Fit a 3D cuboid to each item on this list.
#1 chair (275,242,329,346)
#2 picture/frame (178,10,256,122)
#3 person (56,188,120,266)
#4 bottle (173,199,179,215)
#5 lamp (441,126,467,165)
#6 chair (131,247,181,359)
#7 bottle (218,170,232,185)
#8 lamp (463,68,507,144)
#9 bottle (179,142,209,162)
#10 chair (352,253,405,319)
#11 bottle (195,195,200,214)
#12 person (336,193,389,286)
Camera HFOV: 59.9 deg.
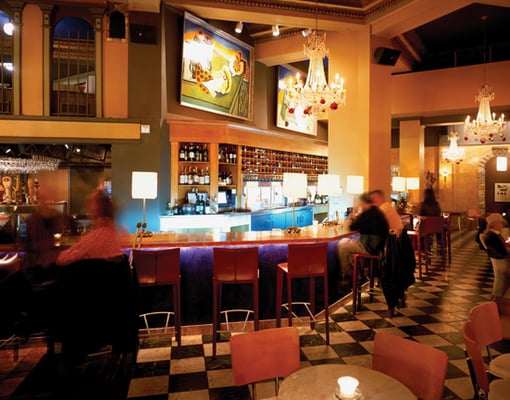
[{"bbox_3d":[0.713,1.249,6.621,0.774,1.437,1.024,1,15,4],"label":"chair"},{"bbox_3d":[-0.937,-3.065,10.052,0.102,2.077,2.530,1,-1,34],"label":"picture/frame"},{"bbox_3d":[-2.017,0.317,5.271,0.710,0.946,0.680,3,-13,1],"label":"person"},{"bbox_3d":[-1.701,0.140,9.566,0.158,0.279,0.323,-1,15,-2],"label":"bottle"},{"bbox_3d":[6.940,-1.783,15.428,0.762,1.327,2.173,6,17,24],"label":"lamp"},{"bbox_3d":[-1.320,1.310,6.030,0.631,1.311,0.497,-3,15,-11],"label":"chair"},{"bbox_3d":[-0.713,-0.503,10.416,0.289,0.316,0.565,3,16,14],"label":"bottle"},{"bbox_3d":[6.444,-2.631,12.248,0.980,2.076,3.976,7,17,27],"label":"lamp"},{"bbox_3d":[-1.378,-1.048,9.716,0.403,0.395,0.091,0,3,-21],"label":"bottle"},{"bbox_3d":[2.089,1.389,7.595,1.047,1.492,0.833,0,-4,21],"label":"chair"},{"bbox_3d":[-1.228,0.096,9.734,0.155,0.363,0.237,-2,15,-6],"label":"bottle"},{"bbox_3d":[1.804,0.756,7.469,0.821,1.680,0.518,5,15,21],"label":"person"}]
